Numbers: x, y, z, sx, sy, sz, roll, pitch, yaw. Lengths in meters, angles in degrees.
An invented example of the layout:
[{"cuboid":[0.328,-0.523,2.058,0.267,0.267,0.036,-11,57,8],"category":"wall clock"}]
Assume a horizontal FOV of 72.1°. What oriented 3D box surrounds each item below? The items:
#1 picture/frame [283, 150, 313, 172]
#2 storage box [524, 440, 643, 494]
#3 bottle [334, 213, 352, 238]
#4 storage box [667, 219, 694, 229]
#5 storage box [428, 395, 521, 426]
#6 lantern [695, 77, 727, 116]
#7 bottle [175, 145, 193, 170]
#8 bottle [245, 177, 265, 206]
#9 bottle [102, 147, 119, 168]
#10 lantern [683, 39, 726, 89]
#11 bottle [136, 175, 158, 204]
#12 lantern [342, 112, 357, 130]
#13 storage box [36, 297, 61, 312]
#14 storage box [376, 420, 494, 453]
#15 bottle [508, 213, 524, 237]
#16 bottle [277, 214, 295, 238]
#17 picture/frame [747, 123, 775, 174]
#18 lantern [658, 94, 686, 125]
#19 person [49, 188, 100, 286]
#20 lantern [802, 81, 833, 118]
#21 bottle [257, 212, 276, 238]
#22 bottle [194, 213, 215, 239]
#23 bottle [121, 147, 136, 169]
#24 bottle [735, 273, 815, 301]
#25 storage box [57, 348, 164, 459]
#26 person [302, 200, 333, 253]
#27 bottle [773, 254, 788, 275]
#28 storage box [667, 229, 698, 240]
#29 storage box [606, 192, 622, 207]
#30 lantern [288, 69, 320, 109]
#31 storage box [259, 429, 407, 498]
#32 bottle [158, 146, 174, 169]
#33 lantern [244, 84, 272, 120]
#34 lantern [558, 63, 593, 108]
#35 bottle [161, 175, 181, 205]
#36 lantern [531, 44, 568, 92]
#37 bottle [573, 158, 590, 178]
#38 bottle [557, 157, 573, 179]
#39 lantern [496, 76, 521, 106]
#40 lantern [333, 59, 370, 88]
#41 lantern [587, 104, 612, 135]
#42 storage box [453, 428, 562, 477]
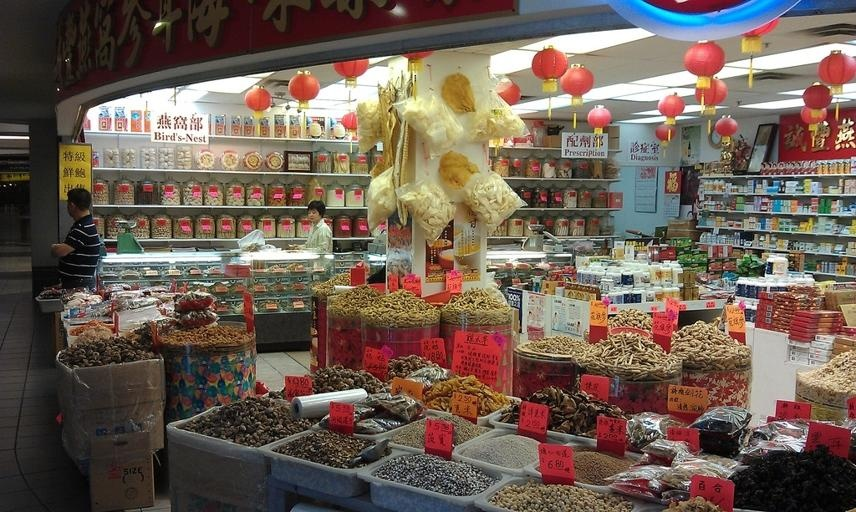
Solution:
[{"cuboid":[-2.418,-1.744,10.814,0.456,0.359,0.155,1,-6,-22],"category":"picture/frame"},{"cuboid":[0.980,1.212,3.431,0.347,0.099,0.360,3,1,32],"category":"storage box"},{"cuboid":[-1.582,-0.560,10.859,0.386,0.668,0.377,1,-1,0],"category":"bottle"},{"cuboid":[5.922,-0.751,13.737,0.385,0.157,0.262,1,-2,6],"category":"storage box"},{"cuboid":[0.364,1.009,4.048,0.396,0.113,0.276,-1,-1,44],"category":"storage box"},{"cuboid":[3.479,-1.990,7.268,0.419,0.467,0.404,0,-3,15],"category":"lantern"},{"cuboid":[-4.307,-1.739,10.332,0.291,0.390,0.093,-3,3,-16],"category":"bottle"},{"cuboid":[-3.121,-1.124,10.550,0.335,0.457,0.234,-1,3,-15],"category":"bottle"},{"cuboid":[-5.430,-1.681,10.056,0.256,0.322,0.139,-2,3,-20],"category":"bottle"},{"cuboid":[2.865,-1.986,6.074,0.423,0.457,0.422,8,18,30],"category":"lantern"},{"cuboid":[-4.866,-1.122,10.160,0.373,0.465,0.283,-2,3,-25],"category":"bottle"},{"cuboid":[-1.196,-2.063,8.890,0.175,0.275,0.311,-1,3,-15],"category":"lantern"},{"cuboid":[-4.121,0.525,6.402,0.319,0.129,0.203,1,-1,-32],"category":"storage box"},{"cuboid":[0.123,1.156,3.913,0.658,0.177,0.712,1,-14,-28],"category":"storage box"},{"cuboid":[1.741,-0.598,11.659,0.377,0.550,0.370,0,-4,0],"category":"bottle"},{"cuboid":[-2.568,-0.540,10.639,0.362,0.490,0.352,0,0,0],"category":"bottle"},{"cuboid":[7.202,-2.327,12.680,0.573,1.026,0.218,2,4,36],"category":"picture/frame"},{"cuboid":[3.556,-2.173,8.583,0.289,0.481,0.478,1,3,25],"category":"lantern"},{"cuboid":[-4.178,-0.210,6.946,0.480,1.160,0.473,-2,3,-27],"category":"person"},{"cuboid":[4.794,-1.919,7.335,0.386,0.427,0.383,0,-7,10],"category":"lantern"},{"cuboid":[-2.906,-0.555,10.592,0.331,0.423,0.223,-2,3,-29],"category":"bottle"},{"cuboid":[-3.929,-0.526,10.336,0.323,0.411,0.099,-2,3,-21],"category":"bottle"},{"cuboid":[-5.162,-1.674,10.101,0.251,0.353,0.194,-2,3,-27],"category":"bottle"},{"cuboid":[3.989,0.319,6.866,0.634,0.192,0.453,0,0,42],"category":"bottle"},{"cuboid":[-2.448,1.270,4.933,0.782,0.713,0.586,-8,-7,2],"category":"storage box"},{"cuboid":[-1.694,-0.460,8.976,0.374,0.778,0.855,-1,3,-13],"category":"person"},{"cuboid":[4.234,0.105,7.094,0.144,0.225,0.142,0,3,0],"category":"bottle"},{"cuboid":[5.924,-0.505,13.659,0.564,0.205,0.579,1,0,14],"category":"storage box"},{"cuboid":[3.927,-1.194,12.556,0.413,0.382,0.297,1,6,9],"category":"storage box"},{"cuboid":[-1.540,-2.064,7.274,0.418,0.445,0.401,-1,1,-39],"category":"lantern"},{"cuboid":[-0.593,1.287,3.695,0.811,0.211,0.686,7,4,29],"category":"storage box"},{"cuboid":[-4.561,-1.705,10.253,0.249,0.370,0.109,-2,3,-23],"category":"bottle"},{"cuboid":[-2.392,-2.205,8.277,0.400,0.462,0.422,17,24,26],"category":"lantern"},{"cuboid":[1.767,-2.022,6.953,0.438,0.484,0.424,0,2,-37],"category":"lantern"},{"cuboid":[-4.447,-1.109,10.155,0.308,0.463,0.143,-2,4,-32],"category":"bottle"},{"cuboid":[1.360,-2.056,6.424,0.411,0.462,0.402,6,8,25],"category":"lantern"},{"cuboid":[3.231,-1.848,12.403,0.303,0.496,0.273,4,-22,-4],"category":"bottle"},{"cuboid":[2.858,-1.844,12.261,0.386,0.418,0.385,2,3,31],"category":"bottle"},{"cuboid":[1.006,-2.096,7.442,0.227,0.416,0.766,0,3,16],"category":"lantern"},{"cuboid":[-0.845,-2.024,6.477,0.326,0.252,0.672,-1,3,-12],"category":"lantern"},{"cuboid":[2.569,-2.068,8.867,0.268,0.473,0.472,1,4,30],"category":"lantern"},{"cuboid":[0.456,1.201,3.591,0.533,0.147,0.451,-4,12,41],"category":"storage box"}]
